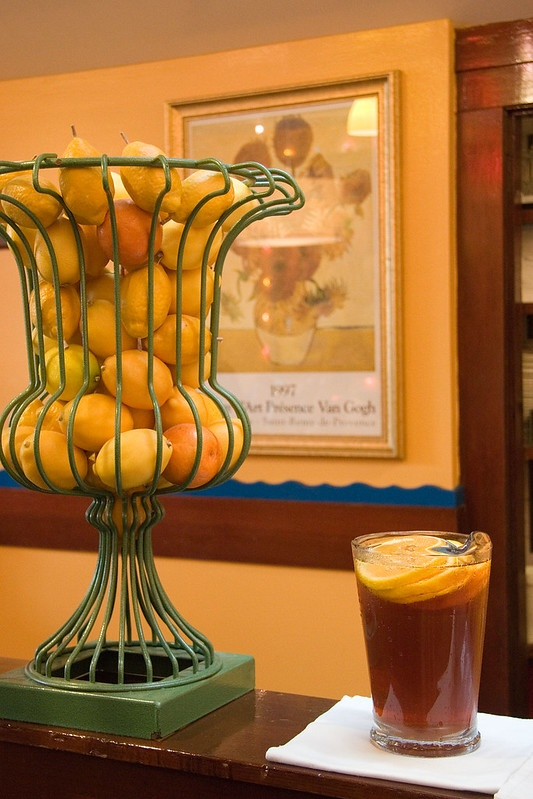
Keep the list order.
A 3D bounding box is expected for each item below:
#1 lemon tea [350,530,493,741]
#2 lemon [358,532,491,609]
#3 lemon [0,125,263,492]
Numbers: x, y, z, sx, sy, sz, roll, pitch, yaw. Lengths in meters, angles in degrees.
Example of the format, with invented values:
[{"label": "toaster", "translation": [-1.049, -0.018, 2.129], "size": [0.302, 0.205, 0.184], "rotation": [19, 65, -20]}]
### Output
[{"label": "lemon tea", "translation": [0.113, 0.180, 0.607], "size": [0.104, 0.137, 0.104], "rotation": [3, -1, 14]}, {"label": "lemon", "translation": [0.114, 0.115, 0.580], "size": [0.064, 0.030, 0.066], "rotation": [-4, -3, -5]}, {"label": "lemon", "translation": [-0.123, -0.066, 0.754], "size": [0.314, 0.307, 0.294], "rotation": [0, -2, -2]}]
